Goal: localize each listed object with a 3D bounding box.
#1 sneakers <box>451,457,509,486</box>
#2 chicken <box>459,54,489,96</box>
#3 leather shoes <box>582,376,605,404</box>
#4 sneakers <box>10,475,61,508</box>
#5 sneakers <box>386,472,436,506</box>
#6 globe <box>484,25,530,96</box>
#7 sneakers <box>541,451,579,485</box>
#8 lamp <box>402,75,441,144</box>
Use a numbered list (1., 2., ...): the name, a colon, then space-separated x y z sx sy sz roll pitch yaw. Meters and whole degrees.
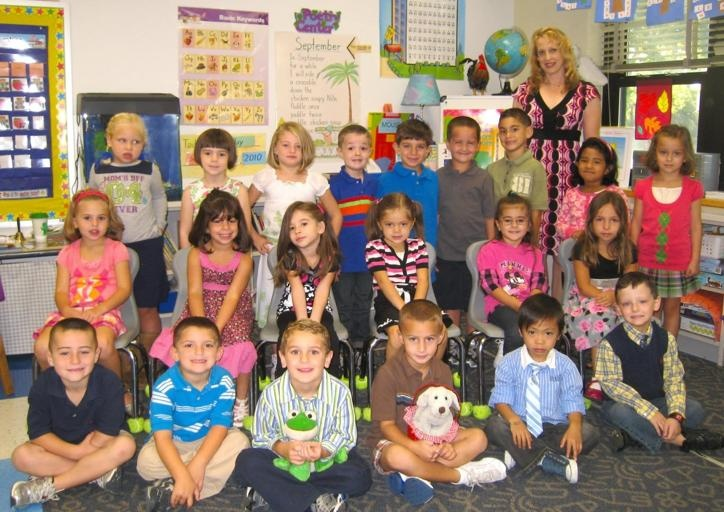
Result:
1. sneakers: 0.563 1.013 2.937 0.270 0.102 0.115 -10 3 -1
2. chicken: 1.028 -1.669 5.746 0.258 0.357 0.369 0 14 9
3. leather shoes: 1.372 0.801 3.712 0.103 0.130 0.051 -14 -19 42
4. sneakers: -1.478 1.056 2.823 0.079 0.114 0.194 -5 -1 44
5. sneakers: 0.221 1.039 2.845 0.210 0.121 0.099 31 11 22
6. globe: 1.306 -1.740 5.566 0.420 0.580 0.376 6 33 26
7. sneakers: 0.945 1.002 3.037 0.096 0.089 0.237 -1 13 -44
8. lamp: 0.534 -1.312 5.572 0.346 0.640 0.345 7 18 27
